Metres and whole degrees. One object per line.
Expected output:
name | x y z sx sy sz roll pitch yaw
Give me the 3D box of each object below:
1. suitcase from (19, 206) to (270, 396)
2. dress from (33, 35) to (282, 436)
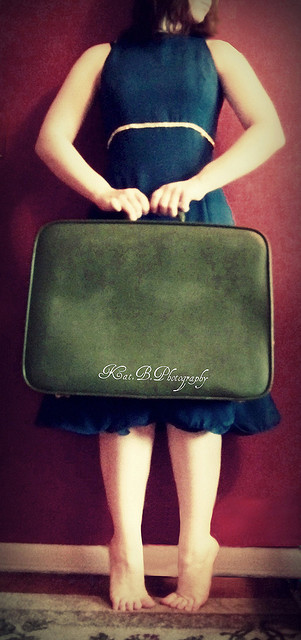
suitcase | -0.004 -0.017 0.761 0.247 0.085 0.227 2 91 2
dress | 0.011 -0.192 0.915 0.343 0.236 0.712 1 94 -6
